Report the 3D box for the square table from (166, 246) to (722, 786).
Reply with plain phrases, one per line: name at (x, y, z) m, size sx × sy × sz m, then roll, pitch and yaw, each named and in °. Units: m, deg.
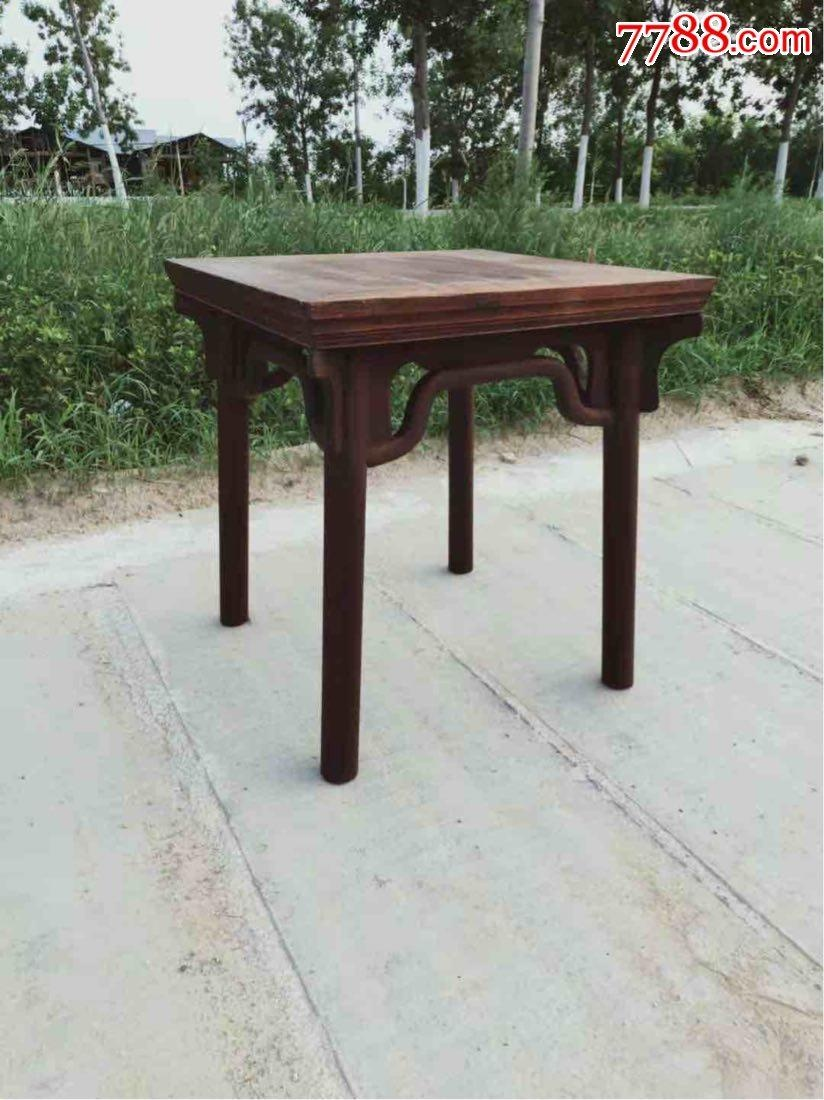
square table at (0.008, -0.050, 2.481) m, size 1.285 × 1.275 × 1.290 m, roll -8°, pitch 16°, yaw -33°
